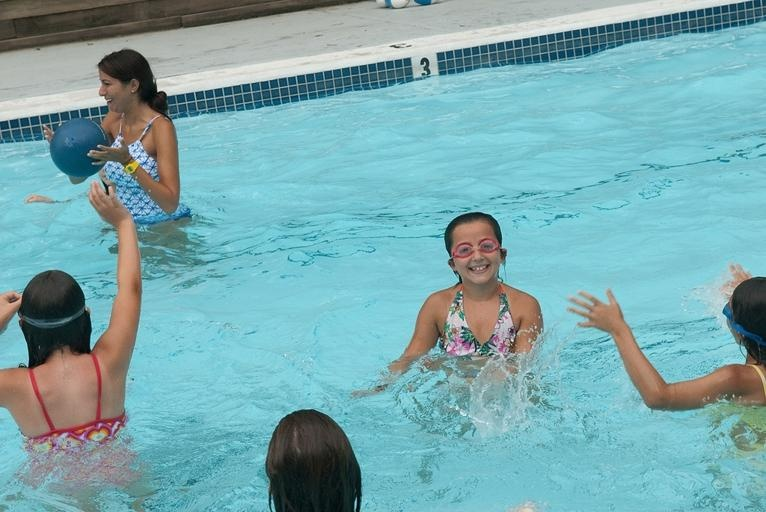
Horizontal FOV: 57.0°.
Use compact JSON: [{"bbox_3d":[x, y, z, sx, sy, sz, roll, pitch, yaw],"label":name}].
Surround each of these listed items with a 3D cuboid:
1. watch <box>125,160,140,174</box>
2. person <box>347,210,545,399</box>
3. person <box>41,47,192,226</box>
[{"bbox_3d":[-1.793,-0.629,5.033,0.083,0.050,0.099,-39,20,-1],"label":"watch"},{"bbox_3d":[0.456,0.326,3.947,1.400,1.029,0.710,-1,6,2],"label":"person"},{"bbox_3d":[-2.097,-0.858,5.626,1.137,1.413,1.012,13,26,21],"label":"person"}]
